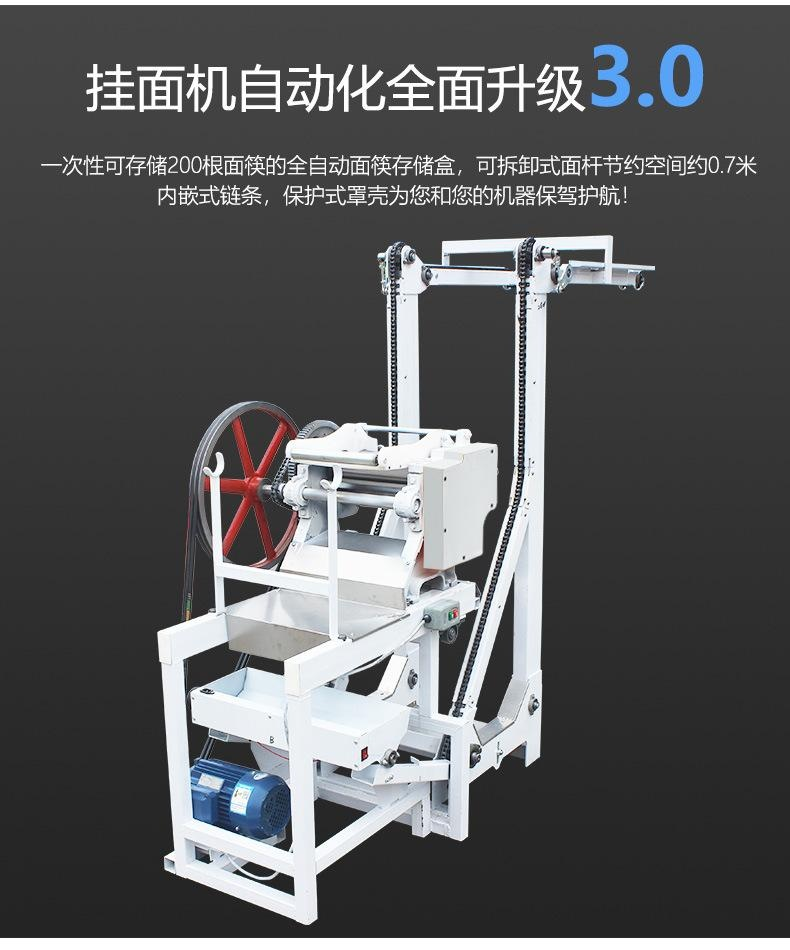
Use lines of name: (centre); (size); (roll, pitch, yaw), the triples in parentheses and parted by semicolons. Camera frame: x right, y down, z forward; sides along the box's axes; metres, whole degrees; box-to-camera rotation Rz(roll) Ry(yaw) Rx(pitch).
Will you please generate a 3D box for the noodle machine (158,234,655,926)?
noodle machine: (0.173, 0.208, 5.144); (1.162, 2.404, 2.862); (8, 16, 31)
